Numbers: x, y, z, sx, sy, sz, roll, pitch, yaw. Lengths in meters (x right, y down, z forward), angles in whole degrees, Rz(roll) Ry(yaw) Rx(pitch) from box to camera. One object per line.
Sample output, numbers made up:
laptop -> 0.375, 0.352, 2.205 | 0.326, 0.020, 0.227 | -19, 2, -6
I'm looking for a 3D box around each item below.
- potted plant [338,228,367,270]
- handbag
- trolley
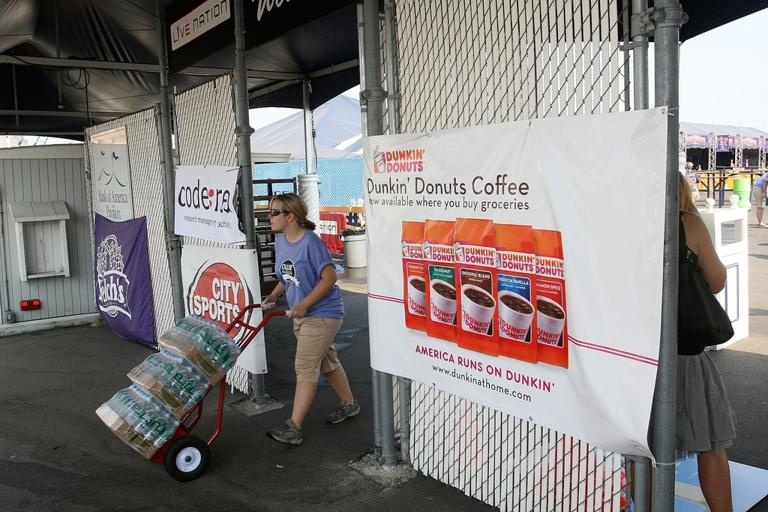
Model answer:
potted plant -> -0.615, -0.076, 15.692 | 0.724, 1.114, 0.747 | -2, 2, 24
handbag -> 2.326, 0.378, 4.638 | 0.421, 0.670, 0.154 | -4, 12, -4
trolley -> -1.762, 1.381, 6.678 | 1.499, 1.610, 0.997 | -11, -7, -20
